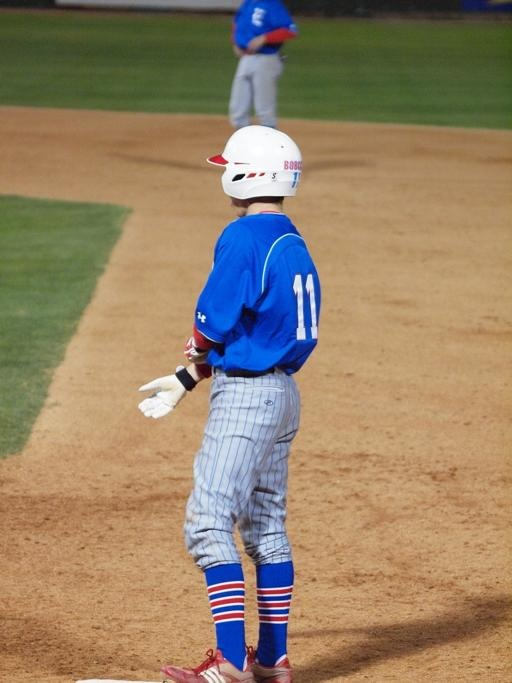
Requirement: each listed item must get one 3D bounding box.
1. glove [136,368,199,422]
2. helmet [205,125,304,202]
[{"bbox_3d":[-0.451,0.261,8.511,0.206,0.334,0.102,48,12,7],"label":"glove"},{"bbox_3d":[0.003,-0.929,8.469,0.433,0.382,0.325,7,9,22],"label":"helmet"}]
